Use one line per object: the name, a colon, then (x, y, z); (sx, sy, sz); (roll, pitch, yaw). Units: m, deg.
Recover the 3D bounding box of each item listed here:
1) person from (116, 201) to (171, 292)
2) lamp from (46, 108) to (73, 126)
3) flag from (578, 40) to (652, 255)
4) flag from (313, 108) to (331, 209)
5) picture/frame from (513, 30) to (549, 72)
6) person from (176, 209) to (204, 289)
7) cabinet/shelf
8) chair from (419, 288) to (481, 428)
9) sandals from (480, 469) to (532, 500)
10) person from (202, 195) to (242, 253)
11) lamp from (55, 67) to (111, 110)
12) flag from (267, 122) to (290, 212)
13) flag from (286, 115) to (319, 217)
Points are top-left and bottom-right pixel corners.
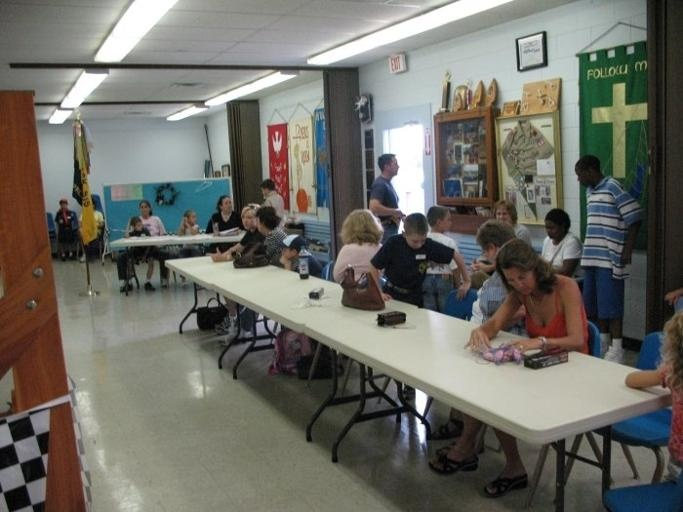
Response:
person: (-3.628, -0.188, 9.782); (0.915, 2.121, 0.875); (0, 9, -22)
lamp: (-6.723, -3.392, 12.681); (0.377, 0.119, 2.222); (-10, 13, -31)
flag: (2.732, -1.182, 5.250); (0.788, 2.018, 0.039); (-2, 2, -1)
flag: (-0.367, -1.827, 10.011); (0.056, 2.140, 0.289); (-1, 9, -29)
picture/frame: (2.160, -2.331, 5.952); (0.058, 0.545, 0.498); (-6, 7, -32)
person: (-2.788, -0.050, 9.858); (0.511, 1.607, 0.573); (-1, 9, -19)
cabinet/shelf: (1.632, -1.179, 6.838); (0.233, 1.360, 0.832); (-18, 18, -42)
chair: (0.879, 0.816, 4.234); (0.557, 0.986, 0.561); (-6, 7, -27)
sandals: (1.024, 1.443, 3.313); (0.301, 0.121, 0.126); (-18, 8, -8)
person: (-2.088, -0.655, 9.357); (0.654, 1.262, 0.633); (3, 9, -12)
lamp: (-4.478, -2.947, 9.291); (0.448, 0.153, 3.601); (-10, 13, -31)
flag: (-1.379, -2.037, 11.692); (0.060, 1.787, 1.306); (-4, 7, -30)
flag: (-0.756, -1.899, 10.676); (0.096, 2.440, 1.799); (-4, 8, -26)
